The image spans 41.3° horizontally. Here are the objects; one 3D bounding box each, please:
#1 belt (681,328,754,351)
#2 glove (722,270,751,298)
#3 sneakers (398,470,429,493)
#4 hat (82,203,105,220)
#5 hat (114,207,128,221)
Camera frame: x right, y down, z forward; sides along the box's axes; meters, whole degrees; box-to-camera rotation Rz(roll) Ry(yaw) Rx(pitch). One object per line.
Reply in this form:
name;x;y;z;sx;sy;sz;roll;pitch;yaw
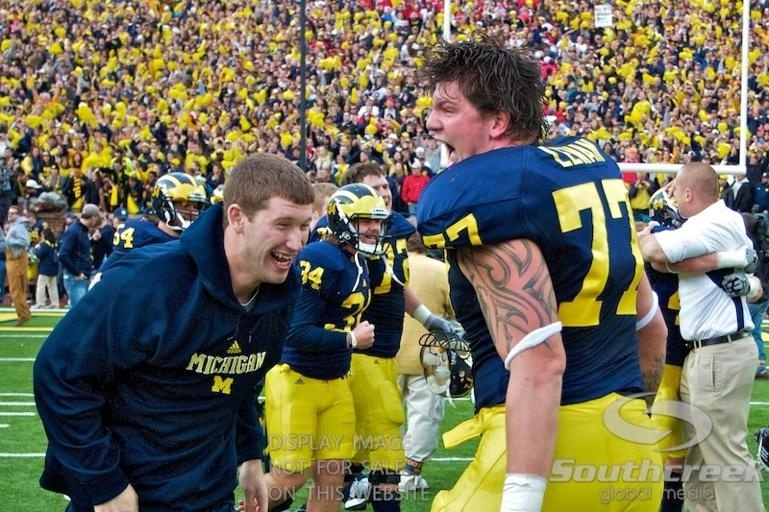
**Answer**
belt;2.724;0.690;8.249;0.279;0.060;0.241;-10;-21;-4
glove;2.847;0.226;8.195;0.227;0.164;0.115;-18;-9;-11
sneakers;0.289;1.961;8.941;0.270;0.247;0.215;1;0;8
hat;-4.868;-0.735;16.985;0.256;0.208;0.386;13;12;39
hat;-4.333;-0.688;16.824;0.214;0.150;0.295;-1;8;-40
